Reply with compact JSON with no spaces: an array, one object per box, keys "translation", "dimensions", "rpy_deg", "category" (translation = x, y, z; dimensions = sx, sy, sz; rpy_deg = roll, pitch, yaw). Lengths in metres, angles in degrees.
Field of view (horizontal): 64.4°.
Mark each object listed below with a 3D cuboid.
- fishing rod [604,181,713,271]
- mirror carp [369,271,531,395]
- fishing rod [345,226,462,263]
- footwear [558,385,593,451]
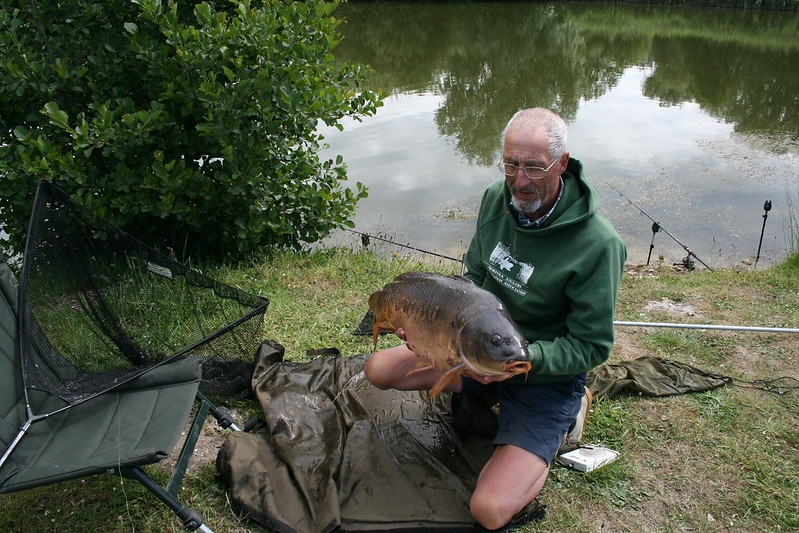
[{"translation":[4.092,-0.598,9.944],"dimensions":[0.090,0.113,2.146],"rpy_deg":[9,42,-27],"category":"fishing rod"},{"translation":[0.230,0.479,4.855],"dimensions":[0.678,0.805,1.734],"rpy_deg":[-10,15,-43],"category":"mirror carp"},{"translation":[0.063,-0.309,9.594],"dimensions":[1.933,0.123,0.032],"rpy_deg":[20,49,-15],"category":"fishing rod"},{"translation":[1.516,1.278,5.402],"dimensions":[0.197,0.180,0.519],"rpy_deg":[8,44,20],"category":"footwear"}]
